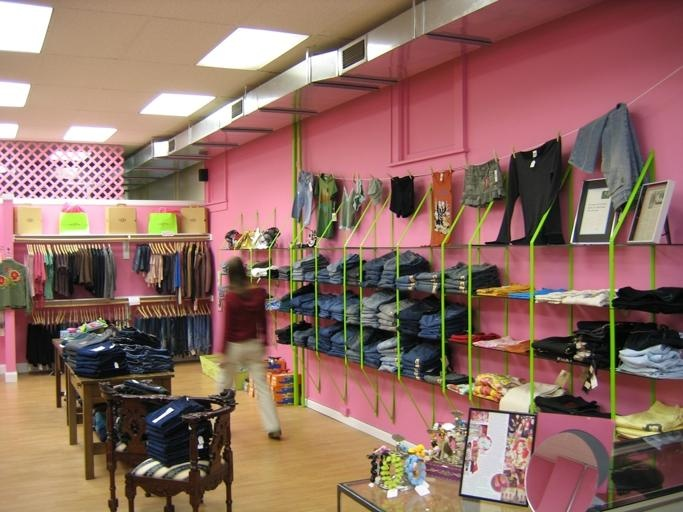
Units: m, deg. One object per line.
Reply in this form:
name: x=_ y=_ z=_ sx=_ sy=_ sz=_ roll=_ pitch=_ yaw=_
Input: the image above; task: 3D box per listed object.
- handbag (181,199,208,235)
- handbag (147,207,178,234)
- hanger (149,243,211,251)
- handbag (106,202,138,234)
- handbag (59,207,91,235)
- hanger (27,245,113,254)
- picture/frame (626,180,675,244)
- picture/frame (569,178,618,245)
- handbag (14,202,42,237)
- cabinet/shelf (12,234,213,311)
handbag: x=-2.930 y=-0.758 z=10.821 sx=0.719 sy=0.803 sz=0.264 roll=0 pitch=-6 yaw=-18
handbag: x=-3.505 y=-0.684 z=10.591 sx=0.555 sy=0.521 sz=0.202 roll=1 pitch=-4 yaw=-20
hanger: x=-3.320 y=-0.183 z=10.538 sx=1.128 sy=0.158 sz=0.087 roll=-3 pitch=15 yaw=-16
handbag: x=-4.167 y=-0.710 z=10.238 sx=0.628 sy=0.659 sz=0.214 roll=0 pitch=-1 yaw=-35
handbag: x=-4.918 y=-0.578 z=10.131 sx=0.629 sy=0.664 sz=0.485 roll=1 pitch=0 yaw=-39
hanger: x=-4.902 y=-0.128 z=9.787 sx=1.297 sy=0.193 sz=0.473 roll=-1 pitch=1 yaw=-33
picture/frame: x=2.023 y=-0.289 z=3.593 sx=0.191 sy=0.411 sz=0.251 roll=-1 pitch=1 yaw=-23
picture/frame: x=1.851 y=-0.327 z=3.966 sx=0.052 sy=0.628 sz=0.468 roll=12 pitch=-14 yaw=-24
handbag: x=-5.524 y=-0.639 z=9.576 sx=0.421 sy=0.549 sz=0.393 roll=-1 pitch=1 yaw=-31
cabinet/shelf: x=-4.117 y=0.230 z=10.119 sx=3.264 sy=1.319 sz=0.776 roll=-1 pitch=1 yaw=-27
